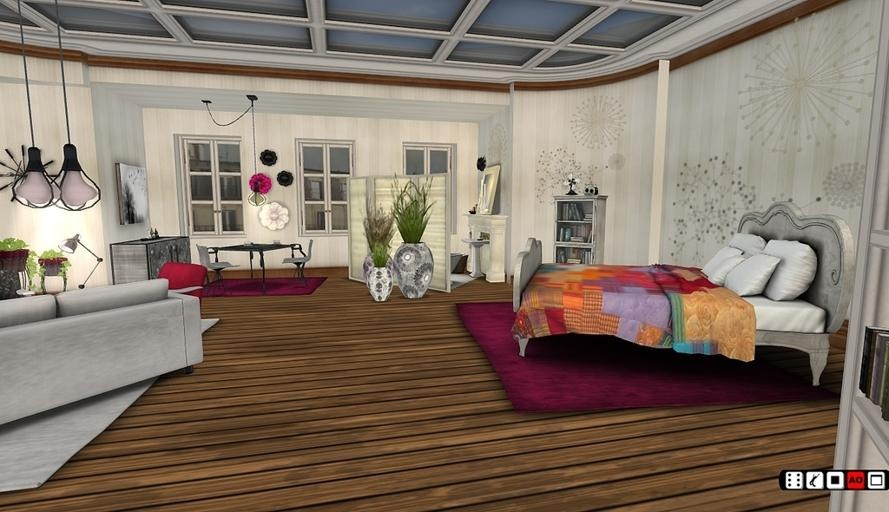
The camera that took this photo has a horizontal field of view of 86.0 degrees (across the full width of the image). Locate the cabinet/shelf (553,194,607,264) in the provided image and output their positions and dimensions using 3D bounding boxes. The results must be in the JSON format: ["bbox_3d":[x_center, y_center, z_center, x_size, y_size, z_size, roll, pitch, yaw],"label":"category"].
[{"bbox_3d":[2.467,-0.325,8.883,0.854,1.637,0.478,6,16,31],"label":"cabinet/shelf"}]

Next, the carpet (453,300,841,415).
[{"bbox_3d":[2.279,1.123,6.625,3.808,0.036,3.976,0,10,-1],"label":"carpet"}]

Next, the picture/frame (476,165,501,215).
[{"bbox_3d":[0.911,-1.414,9.929,0.485,1.029,0.933,1,12,3],"label":"picture/frame"}]

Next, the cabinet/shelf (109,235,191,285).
[{"bbox_3d":[-5.582,0.208,9.226,0.659,1.066,1.935,1,7,-9],"label":"cabinet/shelf"}]

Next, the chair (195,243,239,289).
[{"bbox_3d":[-4.203,0.197,8.760,0.634,0.798,0.554,0,9,-39],"label":"chair"}]

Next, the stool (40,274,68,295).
[{"bbox_3d":[-5.980,0.420,7.249,0.429,0.293,0.428,0,0,-16],"label":"stool"}]

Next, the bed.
[{"bbox_3d":[2.804,0.342,5.758,3.036,1.618,2.617,-1,5,-3],"label":"bed"}]

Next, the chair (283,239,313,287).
[{"bbox_3d":[-2.943,0.087,9.521,0.680,0.874,0.584,-1,2,-9],"label":"chair"}]

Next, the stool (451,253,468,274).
[{"bbox_3d":[0.304,0.142,10.185,0.419,0.284,0.387,0,-2,-6],"label":"stool"}]

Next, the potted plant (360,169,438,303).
[{"bbox_3d":[-0.732,-0.330,8.118,1.103,1.977,1.326,3,12,12],"label":"potted plant"}]

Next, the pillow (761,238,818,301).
[{"bbox_3d":[3.875,0.150,5.342,0.252,0.610,0.631,18,-6,-28],"label":"pillow"}]
